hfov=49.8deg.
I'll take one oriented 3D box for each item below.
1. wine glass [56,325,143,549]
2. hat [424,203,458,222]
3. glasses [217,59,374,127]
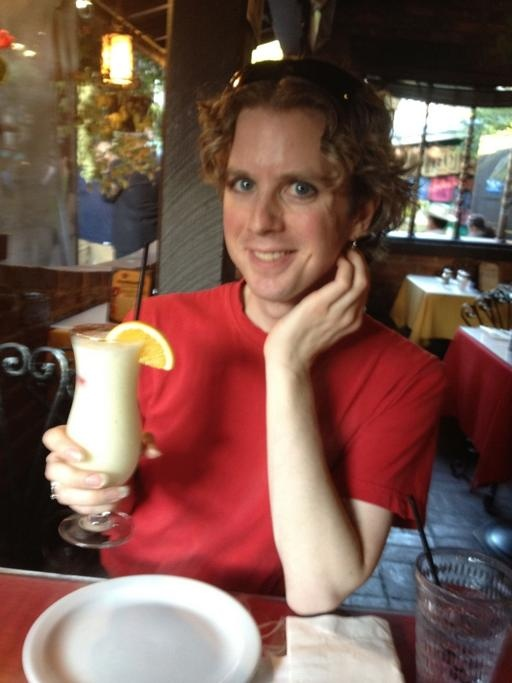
[{"bbox_3d":[-0.285,0.250,1.028,0.140,0.517,0.301,1,14,-12],"label":"wine glass"},{"bbox_3d":[2.302,-1.617,6.930,0.339,0.115,0.310,37,34,28],"label":"hat"},{"bbox_3d":[0.086,-0.520,1.112,0.270,0.096,0.108,5,14,7],"label":"glasses"}]
